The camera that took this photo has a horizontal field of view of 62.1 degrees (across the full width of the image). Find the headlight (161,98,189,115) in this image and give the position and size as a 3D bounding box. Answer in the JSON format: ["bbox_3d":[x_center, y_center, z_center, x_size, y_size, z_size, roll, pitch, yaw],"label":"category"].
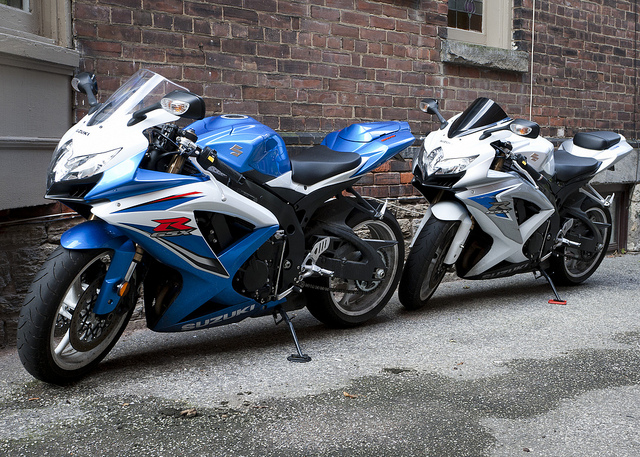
[{"bbox_3d":[-0.853,-0.717,3.113,0.166,0.089,0.034,2,11,11],"label":"headlight"}]

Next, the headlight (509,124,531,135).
[{"bbox_3d":[1.705,-0.847,4.549,0.173,0.087,0.072,3,11,19],"label":"headlight"}]

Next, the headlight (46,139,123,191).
[{"bbox_3d":[-1.454,-0.389,3.076,0.481,0.285,0.353,6,14,24],"label":"headlight"}]
